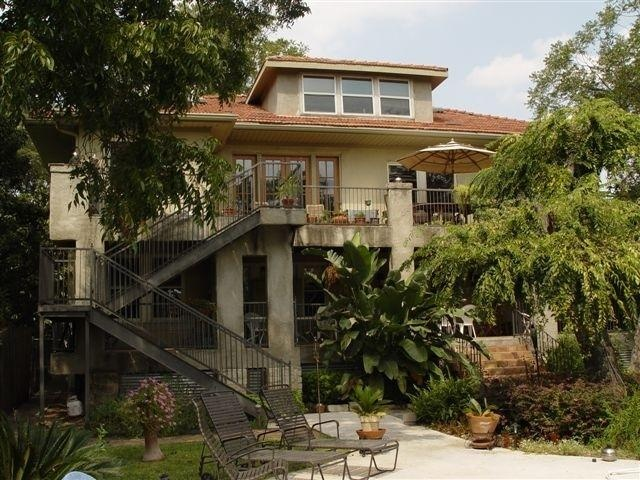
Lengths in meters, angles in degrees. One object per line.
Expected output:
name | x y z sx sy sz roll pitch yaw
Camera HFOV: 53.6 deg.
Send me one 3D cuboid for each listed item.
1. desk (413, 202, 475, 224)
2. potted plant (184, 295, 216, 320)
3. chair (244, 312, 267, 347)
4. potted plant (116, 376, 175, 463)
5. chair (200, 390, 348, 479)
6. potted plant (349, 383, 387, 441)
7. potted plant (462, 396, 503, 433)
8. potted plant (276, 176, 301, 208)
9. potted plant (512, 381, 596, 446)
desk | 4.154 -0.904 21.648 1.916 0.956 1.422 -1 -9 8
potted plant | -3.864 2.135 20.232 0.938 0.867 2.898 2 -9 -13
chair | -1.921 2.779 19.487 0.717 0.881 0.749 -13 -11 40
potted plant | -3.524 3.716 13.145 0.948 1.648 0.717 3 -8 -18
chair | -0.945 3.457 11.248 2.490 1.731 1.404 -10 -14 35
potted plant | 1.032 3.795 13.772 0.745 1.122 0.776 -15 -18 35
potted plant | 3.454 3.748 13.462 0.564 0.716 0.618 -8 -11 43
potted plant | -0.889 -1.384 18.756 0.695 1.016 0.655 2 -8 -17
potted plant | 5.073 3.680 13.501 1.340 0.924 1.346 0 -3 7
